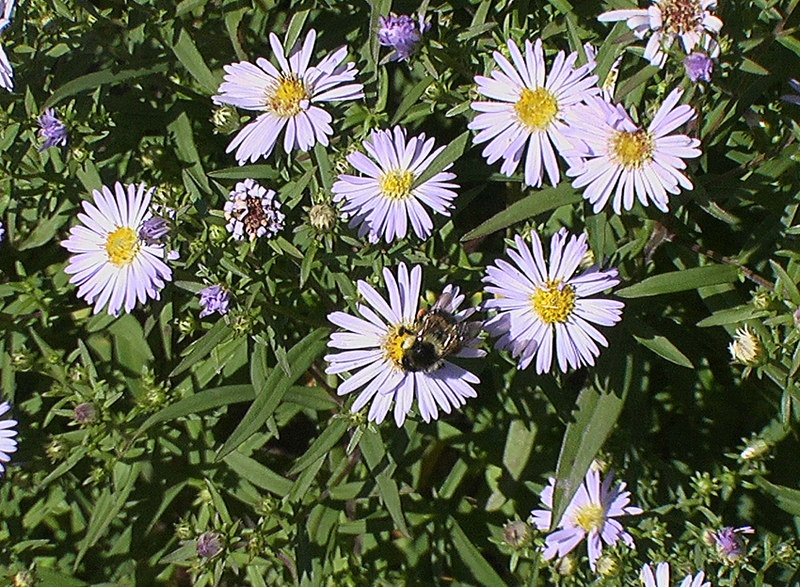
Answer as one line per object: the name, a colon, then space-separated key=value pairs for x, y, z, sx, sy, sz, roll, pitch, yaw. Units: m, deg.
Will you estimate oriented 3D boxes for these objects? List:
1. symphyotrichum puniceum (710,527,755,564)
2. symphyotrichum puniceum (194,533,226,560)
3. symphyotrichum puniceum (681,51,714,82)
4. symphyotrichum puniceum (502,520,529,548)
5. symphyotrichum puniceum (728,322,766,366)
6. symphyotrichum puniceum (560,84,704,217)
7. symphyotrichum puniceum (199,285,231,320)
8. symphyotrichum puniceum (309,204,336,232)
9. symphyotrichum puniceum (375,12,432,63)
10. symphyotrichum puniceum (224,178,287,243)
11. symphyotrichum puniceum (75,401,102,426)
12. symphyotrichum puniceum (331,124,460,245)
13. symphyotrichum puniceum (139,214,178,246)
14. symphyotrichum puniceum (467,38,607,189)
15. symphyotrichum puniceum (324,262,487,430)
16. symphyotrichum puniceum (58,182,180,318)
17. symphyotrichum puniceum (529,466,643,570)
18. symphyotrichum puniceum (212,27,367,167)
symphyotrichum puniceum: x=1.216 y=0.949 z=2.830 sx=0.129 sy=0.054 sz=0.136 roll=-23 pitch=49 yaw=1
symphyotrichum puniceum: x=-0.705 y=0.918 z=2.832 sx=0.080 sy=0.059 sz=0.104 roll=-9 pitch=88 yaw=10
symphyotrichum puniceum: x=1.014 y=-0.764 z=2.620 sx=0.117 sy=0.098 sz=0.096 roll=-1 pitch=81 yaw=0
symphyotrichum puniceum: x=0.445 y=0.918 z=2.947 sx=0.100 sy=0.066 sz=0.102 roll=22 pitch=82 yaw=4
symphyotrichum puniceum: x=1.233 y=0.186 z=2.756 sx=0.059 sy=0.118 sz=0.135 roll=10 pitch=59 yaw=-34
symphyotrichum puniceum: x=0.820 y=-0.493 z=2.815 sx=0.461 sy=0.328 sz=0.428 roll=6 pitch=81 yaw=1
symphyotrichum puniceum: x=-0.668 y=0.017 z=2.843 sx=0.106 sy=0.062 sz=0.126 roll=23 pitch=115 yaw=0
symphyotrichum puniceum: x=-0.284 y=-0.280 z=2.840 sx=0.095 sy=0.042 sz=0.101 roll=-3 pitch=82 yaw=0
symphyotrichum puniceum: x=0.007 y=-0.973 z=2.939 sx=0.177 sy=0.092 sz=0.173 roll=-40 pitch=80 yaw=4
symphyotrichum puniceum: x=-0.541 y=-0.291 z=2.860 sx=0.222 sy=0.092 sz=0.218 roll=25 pitch=82 yaw=4
symphyotrichum puniceum: x=-1.248 y=0.477 z=3.071 sx=0.078 sy=0.038 sz=0.091 roll=18 pitch=83 yaw=-20
symphyotrichum puniceum: x=-0.018 y=-0.418 z=3.027 sx=0.479 sy=0.197 sz=0.426 roll=-44 pitch=84 yaw=-6
symphyotrichum puniceum: x=-0.896 y=-0.243 z=2.855 sx=0.112 sy=0.038 sz=0.116 roll=-21 pitch=107 yaw=-7
symphyotrichum puniceum: x=0.542 y=-0.741 z=2.979 sx=0.428 sy=0.457 sz=0.146 roll=14 pitch=76 yaw=35
symphyotrichum puniceum: x=-0.028 y=0.238 z=2.904 sx=0.482 sy=0.165 sz=0.591 roll=-31 pitch=83 yaw=-4
symphyotrichum puniceum: x=-1.108 y=-0.163 z=3.142 sx=0.470 sy=0.158 sz=0.579 roll=4 pitch=88 yaw=31
symphyotrichum puniceum: x=0.728 y=0.911 z=3.006 sx=0.426 sy=0.244 sz=0.305 roll=-39 pitch=83 yaw=-5
symphyotrichum puniceum: x=-0.436 y=-0.767 z=3.067 sx=0.573 sy=0.196 sz=0.470 roll=-14 pitch=82 yaw=-2
